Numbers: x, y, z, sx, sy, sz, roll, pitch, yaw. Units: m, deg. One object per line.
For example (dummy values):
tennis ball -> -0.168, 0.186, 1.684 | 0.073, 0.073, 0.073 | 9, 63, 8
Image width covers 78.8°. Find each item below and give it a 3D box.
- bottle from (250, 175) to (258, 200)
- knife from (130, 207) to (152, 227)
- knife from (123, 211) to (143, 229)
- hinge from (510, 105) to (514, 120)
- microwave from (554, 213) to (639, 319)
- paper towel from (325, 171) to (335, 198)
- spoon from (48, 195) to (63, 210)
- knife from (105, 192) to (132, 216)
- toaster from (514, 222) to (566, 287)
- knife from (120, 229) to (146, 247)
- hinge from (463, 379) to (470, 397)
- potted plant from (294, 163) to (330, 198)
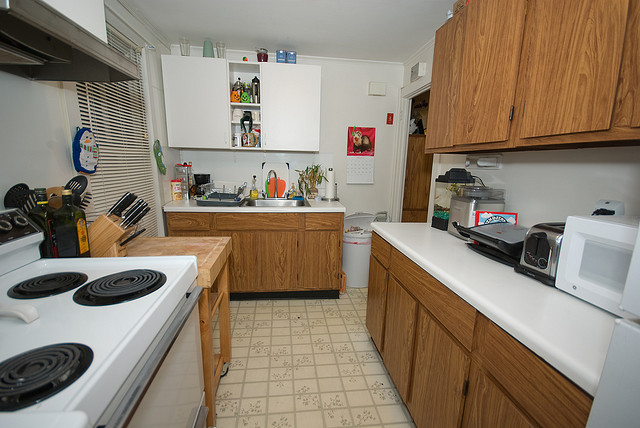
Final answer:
bottle -> -0.647, -0.265, 3.810 | 0.073, 0.223, 0.189 | -1, 11, -10
knife -> -1.084, 0.019, 2.353 | 0.028, 0.197, 0.040 | 47, -5, 31
knife -> -0.996, 0.027, 2.070 | 0.145, 0.020, 0.017 | -41, 31, -19
hinge -> 1.024, -0.543, 2.075 | 0.017, 0.065, 0.005 | 3, 11, 13
microwave -> 1.206, 0.215, 1.786 | 0.416, 0.402, 0.351 | -2, 6, -31
paper towel -> 0.099, -0.299, 3.844 | 0.093, 0.261, 0.186 | 1, 10, 1
spoon -> -1.374, -0.065, 2.047 | 0.074, 0.071, 0.073 | 11, 20, -31
knife -> -1.177, -0.058, 2.269 | 0.241, 0.035, 0.042 | -39, 24, -20
toaster -> 1.080, 0.193, 2.055 | 0.210, 0.274, 0.363 | 18, -1, 7
knife -> -1.012, 0.123, 2.113 | 0.166, 0.030, 0.023 | -37, 0, -28
hinge -> 0.700, 0.816, 1.832 | 0.013, 0.053, 0.052 | 13, -8, -27
potted plant -> -0.073, -0.340, 3.960 | 0.384, 0.353, 0.291 | -3, 0, -21
